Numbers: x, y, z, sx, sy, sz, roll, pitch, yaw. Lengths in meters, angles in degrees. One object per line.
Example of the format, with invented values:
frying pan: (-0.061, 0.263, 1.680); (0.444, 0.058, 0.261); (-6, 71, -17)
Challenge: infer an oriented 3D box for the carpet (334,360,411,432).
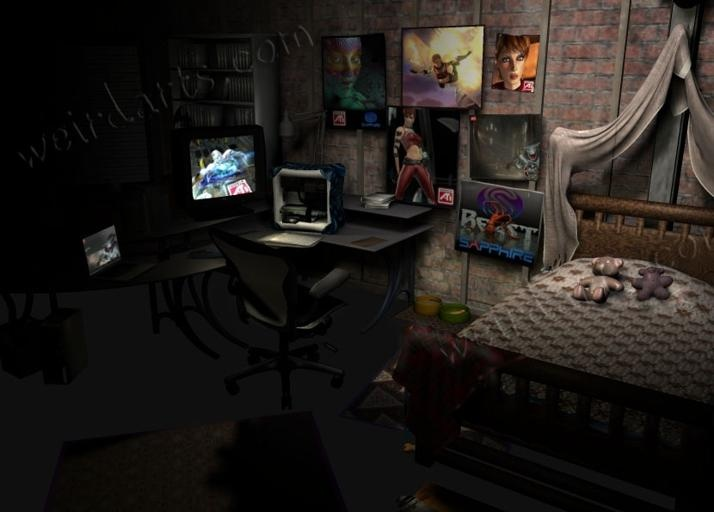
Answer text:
carpet: (0.165, 0.970, 3.537); (0.369, 0.166, 0.493); (3, 11, 18)

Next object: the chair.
chair: (-0.518, 0.345, 3.531); (0.836, 1.164, 0.789); (15, 23, 31)

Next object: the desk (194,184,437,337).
desk: (-0.299, -0.093, 4.795); (1.814, 0.838, 1.100); (12, 20, 36)

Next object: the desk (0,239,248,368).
desk: (-1.617, 0.270, 3.824); (1.497, 0.733, 1.036); (-12, 19, -37)

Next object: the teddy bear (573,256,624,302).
teddy bear: (1.653, 0.163, 3.514); (0.280, 0.162, 0.432); (5, 33, 46)

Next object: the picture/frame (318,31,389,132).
picture/frame: (-0.007, -1.624, 4.741); (0.888, 0.996, 0.053); (10, 22, 28)

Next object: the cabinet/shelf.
cabinet/shelf: (-1.359, -1.575, 5.302); (1.196, 1.287, 0.348); (7, 20, 22)
